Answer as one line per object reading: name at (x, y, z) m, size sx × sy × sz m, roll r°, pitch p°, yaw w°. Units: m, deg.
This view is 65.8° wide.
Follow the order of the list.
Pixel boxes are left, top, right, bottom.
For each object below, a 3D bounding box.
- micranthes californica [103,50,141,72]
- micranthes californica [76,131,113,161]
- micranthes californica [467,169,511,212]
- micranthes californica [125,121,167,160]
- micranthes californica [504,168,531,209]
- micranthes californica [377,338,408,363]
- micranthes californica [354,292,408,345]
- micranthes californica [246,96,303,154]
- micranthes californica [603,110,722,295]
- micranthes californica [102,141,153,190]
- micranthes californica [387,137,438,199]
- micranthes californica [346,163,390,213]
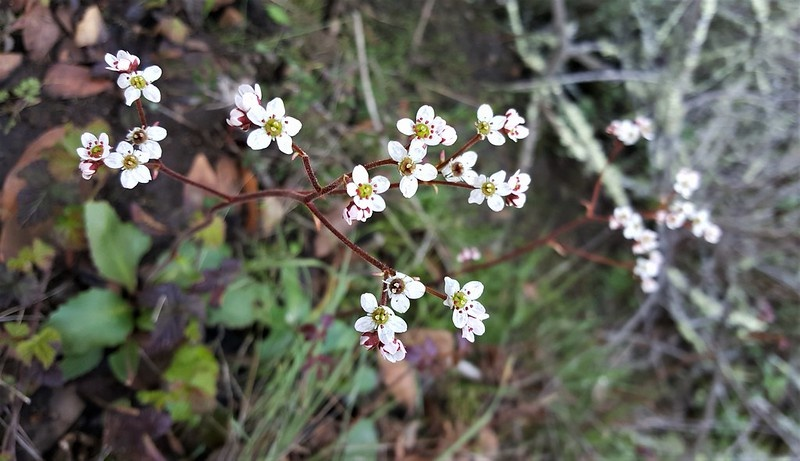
micranthes californica at (-1.353, -0.824, 3.019) m, size 0.140 × 0.123 × 0.128 m, roll 1°, pitch 40°, yaw -13°
micranthes californica at (-1.487, -0.424, 3.036) m, size 0.144 × 0.076 × 0.147 m, roll -8°, pitch 85°, yaw 0°
micranthes californica at (0.446, -0.202, 3.094) m, size 0.196 × 0.242 × 0.212 m, roll 12°, pitch 38°, yaw 0°
micranthes californica at (-1.249, -0.438, 3.081) m, size 0.191 × 0.079 × 0.183 m, roll -18°, pitch 83°, yaw -17°
micranthes californica at (0.555, -0.208, 3.120) m, size 0.169 × 0.177 × 0.085 m, roll -12°, pitch 27°, yaw -42°
micranthes californica at (-0.036, 0.585, 3.015) m, size 0.137 × 0.063 × 0.128 m, roll -19°, pitch 81°, yaw -7°
micranthes californica at (-0.087, 0.419, 2.957) m, size 0.241 × 0.182 × 0.135 m, roll 19°, pitch 39°, yaw 9°
micranthes californica at (-0.615, -0.504, 3.019) m, size 0.241 × 0.285 × 0.255 m, roll 1°, pitch 40°, yaw -13°
micranthes californica at (1.455, -0.174, 3.513) m, size 0.681 × 0.212 × 1.029 m, roll -12°, pitch 90°, yaw 0°
micranthes californica at (-1.324, -0.324, 3.012) m, size 0.197 × 0.181 × 0.165 m, roll -10°, pitch 44°, yaw -26°
micranthes californica at (0.063, -0.306, 3.002) m, size 0.201 × 0.249 × 0.236 m, roll -15°, pitch 46°, yaw -30°
micranthes californica at (-0.147, -0.205, 2.966) m, size 0.197 × 0.217 × 0.193 m, roll 10°, pitch 38°, yaw -2°
